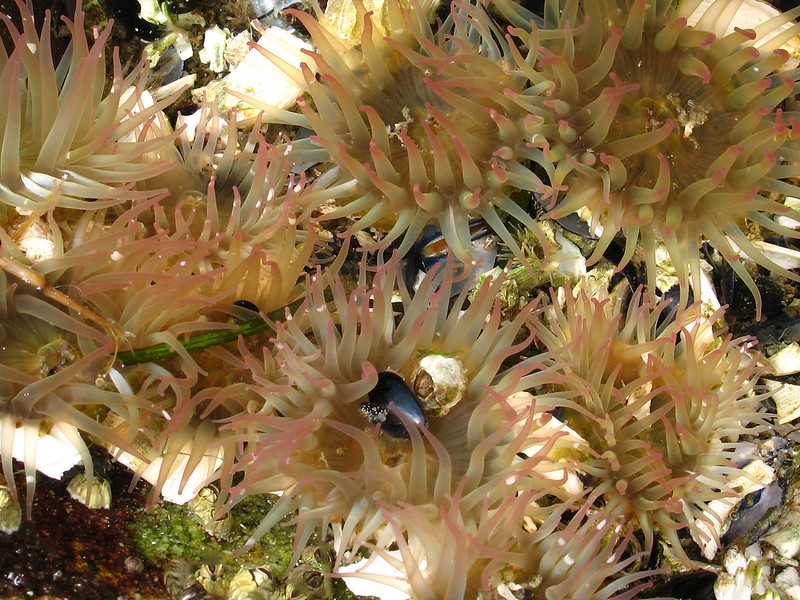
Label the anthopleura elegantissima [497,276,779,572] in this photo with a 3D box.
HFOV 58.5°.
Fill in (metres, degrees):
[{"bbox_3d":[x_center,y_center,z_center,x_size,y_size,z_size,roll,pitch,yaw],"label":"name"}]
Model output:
[{"bbox_3d":[0.663,0.327,2.023,0.666,0.296,0.788,11,75,-22],"label":"anthopleura elegantissima"}]
